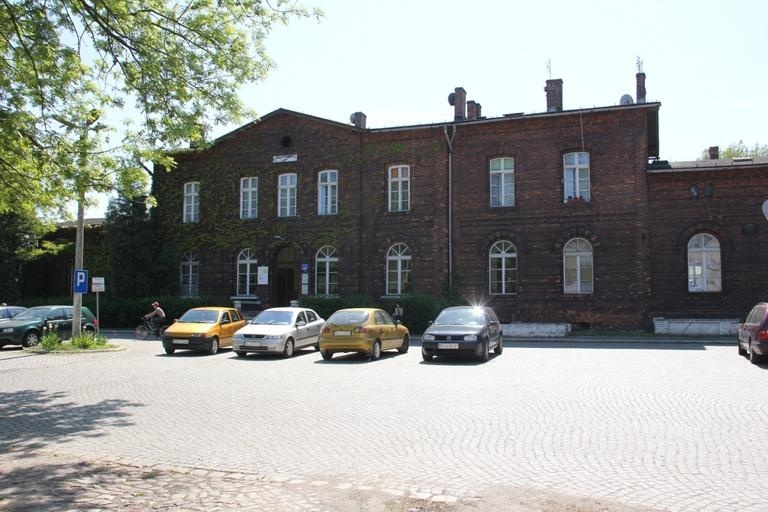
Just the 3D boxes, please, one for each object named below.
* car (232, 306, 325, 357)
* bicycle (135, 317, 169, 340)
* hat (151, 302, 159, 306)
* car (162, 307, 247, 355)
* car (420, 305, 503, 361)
[{"bbox_3d":[-3.668,2.843,30.368,1.861,1.696,3.055,4,11,27],"label":"car"},{"bbox_3d":[-10.404,3.236,38.401,2.104,1.171,0.964,0,0,6],"label":"bicycle"},{"bbox_3d":[-10.859,2.281,40.834,0.407,0.243,0.515,3,4,-17],"label":"hat"},{"bbox_3d":[-6.480,2.682,31.407,1.671,1.144,2.636,-4,-9,10],"label":"car"},{"bbox_3d":[2.605,2.664,28.552,1.986,1.454,2.416,4,11,24],"label":"car"}]
